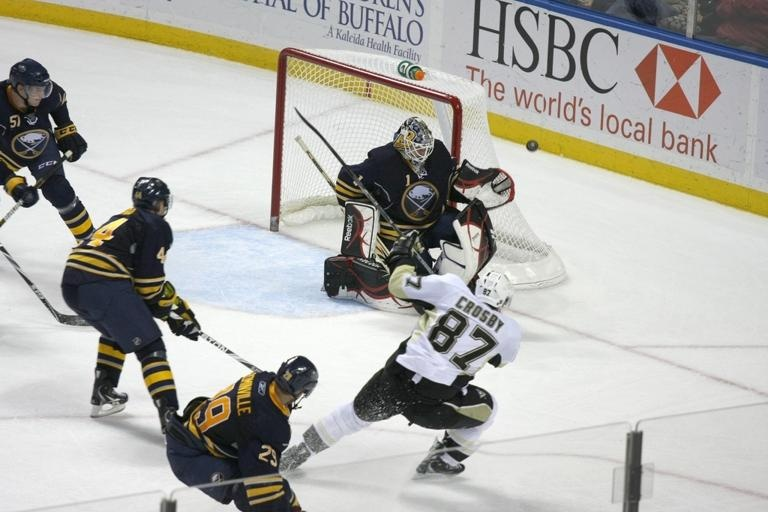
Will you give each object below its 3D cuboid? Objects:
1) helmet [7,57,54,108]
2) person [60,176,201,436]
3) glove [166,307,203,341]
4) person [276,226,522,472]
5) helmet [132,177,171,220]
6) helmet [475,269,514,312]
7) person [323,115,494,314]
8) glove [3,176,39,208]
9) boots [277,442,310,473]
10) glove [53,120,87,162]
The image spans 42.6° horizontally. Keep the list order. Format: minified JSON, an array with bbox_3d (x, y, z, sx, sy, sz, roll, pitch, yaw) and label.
[{"bbox_3d":[-2.385,-1.196,6.730,0.377,0.304,0.254,14,28,-1],"label":"helmet"},{"bbox_3d":[-1.335,0.227,5.572,0.879,1.254,0.533,21,21,30],"label":"person"},{"bbox_3d":[-1.160,0.405,5.730,0.194,0.061,0.150,50,15,-6],"label":"glove"},{"bbox_3d":[0.137,0.652,5.178,0.782,1.140,0.671,21,21,29],"label":"person"},{"bbox_3d":[-1.311,-0.341,5.719,0.265,0.227,0.207,14,12,-9],"label":"helmet"},{"bbox_3d":[0.571,0.186,5.117,0.185,0.203,0.177,10,18,3],"label":"helmet"},{"bbox_3d":[0.185,-0.240,6.698,1.421,1.099,0.830,-19,43,-24],"label":"person"},{"bbox_3d":[-2.520,-0.457,6.799,0.258,0.089,0.183,36,9,12],"label":"glove"},{"bbox_3d":[-0.480,1.073,5.271,0.111,0.208,0.050,49,14,11],"label":"boots"},{"bbox_3d":[-2.287,-0.828,7.258,0.246,0.260,0.130,-24,7,-5],"label":"glove"}]
